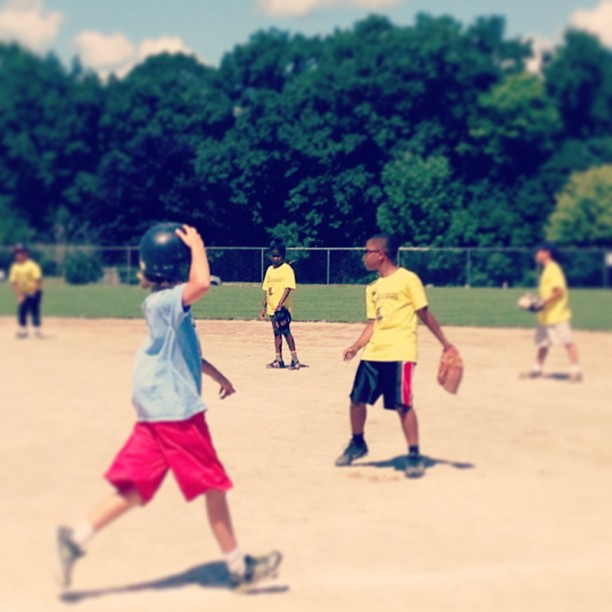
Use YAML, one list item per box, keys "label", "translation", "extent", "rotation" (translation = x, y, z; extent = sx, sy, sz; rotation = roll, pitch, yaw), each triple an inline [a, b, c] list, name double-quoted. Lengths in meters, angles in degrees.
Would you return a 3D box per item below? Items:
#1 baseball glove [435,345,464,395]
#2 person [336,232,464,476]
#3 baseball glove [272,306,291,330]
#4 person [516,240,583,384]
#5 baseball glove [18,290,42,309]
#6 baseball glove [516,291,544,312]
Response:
- label: "baseball glove"
  translation: [1.156, 0.492, 8.648]
  extent: [0.212, 0.374, 0.155]
  rotation: [2, -22, 12]
- label: "person"
  translation: [0.722, 0.365, 8.572]
  extent: [0.865, 1.827, 0.591]
  rotation: [3, 8, 29]
- label: "baseball glove"
  translation: [-0.316, 0.173, 14.347]
  extent: [0.232, 0.299, 0.114]
  rotation: [-1, 13, -24]
- label: "person"
  translation: [2.924, 0.078, 12.925]
  extent: [0.762, 1.651, 0.553]
  rotation: [2, 7, 16]
- label: "baseball glove"
  translation: [-4.493, -0.093, 17.834]
  extent: [0.268, 0.326, 0.303]
  rotation: [10, -7, 3]
- label: "baseball glove"
  translation: [2.735, -0.021, 12.934]
  extent: [0.293, 0.186, 0.366]
  rotation: [13, 4, 37]
